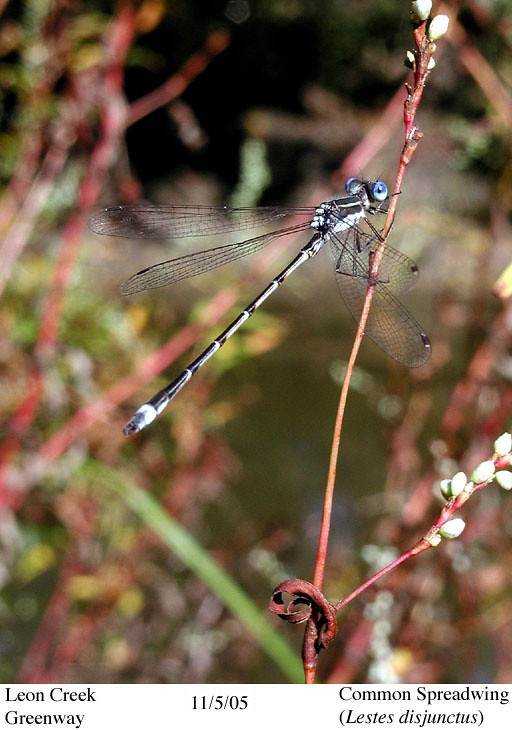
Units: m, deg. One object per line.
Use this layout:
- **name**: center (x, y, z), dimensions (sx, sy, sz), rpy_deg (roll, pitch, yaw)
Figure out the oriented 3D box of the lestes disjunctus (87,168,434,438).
- **lestes disjunctus**: center (0.036, -0.071, 1.486), dimensions (0.544, 0.111, 0.577), rpy_deg (-44, 54, -15)
